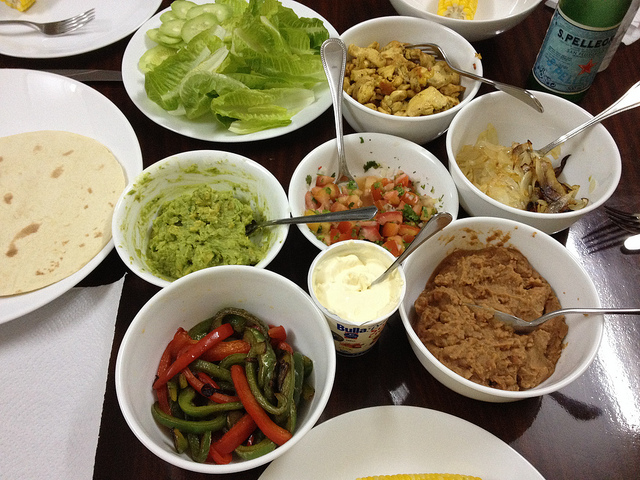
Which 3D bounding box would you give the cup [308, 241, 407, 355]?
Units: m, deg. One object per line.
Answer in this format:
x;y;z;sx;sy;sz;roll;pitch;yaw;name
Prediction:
0.135;0.271;2.230;0.398;0.353;0.414;1;48;-1;cup

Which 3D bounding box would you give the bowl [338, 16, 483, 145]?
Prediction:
0.489;-0.896;2.737;0.653;0.310;0.779;0;60;-2;bowl

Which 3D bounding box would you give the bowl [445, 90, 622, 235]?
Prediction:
1.017;-0.417;2.709;0.903;0.723;0.727;2;33;0;bowl

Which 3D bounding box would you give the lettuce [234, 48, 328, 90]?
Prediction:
-0.210;-0.913;2.864;0.481;0.141;0.231;5;87;-5;lettuce

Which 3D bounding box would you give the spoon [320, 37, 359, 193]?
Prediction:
0.097;-0.508;2.618;0.126;0.078;1.019;-3;89;2;spoon

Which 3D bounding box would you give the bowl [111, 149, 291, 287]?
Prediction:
-0.556;-0.106;2.407;0.633;0.274;0.712;-21;72;-14;bowl

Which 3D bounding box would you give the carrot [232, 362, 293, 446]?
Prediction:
-0.226;0.623;2.015;0.117;0.093;0.387;-26;68;-10;carrot

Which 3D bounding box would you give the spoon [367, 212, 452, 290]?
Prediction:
0.358;0.038;2.087;0.435;0.173;0.055;-39;71;-15;spoon
